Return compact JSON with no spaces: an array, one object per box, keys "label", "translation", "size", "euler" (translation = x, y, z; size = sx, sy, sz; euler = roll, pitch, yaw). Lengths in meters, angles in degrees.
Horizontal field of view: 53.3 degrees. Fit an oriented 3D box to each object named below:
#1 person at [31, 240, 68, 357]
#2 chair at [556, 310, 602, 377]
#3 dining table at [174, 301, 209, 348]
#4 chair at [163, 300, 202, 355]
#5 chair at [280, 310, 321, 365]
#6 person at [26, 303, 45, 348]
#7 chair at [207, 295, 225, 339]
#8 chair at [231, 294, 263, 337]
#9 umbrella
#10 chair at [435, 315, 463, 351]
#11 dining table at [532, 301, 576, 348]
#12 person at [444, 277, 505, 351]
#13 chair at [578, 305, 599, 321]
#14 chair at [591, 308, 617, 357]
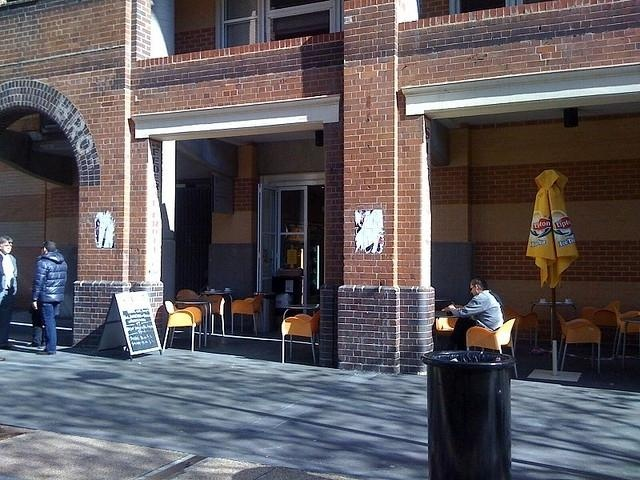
[{"label":"person","translation":[-5.256,1.129,12.407],"size":[0.576,2.189,0.599],"euler":[0,2,-14]},{"label":"chair","translation":[4.558,1.751,11.213],"size":[0.639,0.965,0.779],"euler":[-2,2,20]},{"label":"dining table","translation":[-2.690,1.852,14.159],"size":[0.871,1.211,0.896],"euler":[-1,-4,7]},{"label":"chair","translation":[-2.828,1.712,12.931],"size":[0.677,0.933,0.792],"euler":[0,1,-16]},{"label":"chair","translation":[-0.378,1.782,12.009],"size":[0.705,0.998,0.724],"euler":[6,-8,-11]},{"label":"person","translation":[-5.902,1.804,13.273],"size":[0.301,1.345,0.571],"euler":[6,-19,-27]},{"label":"chair","translation":[-2.315,1.626,14.207],"size":[0.356,0.637,0.383],"euler":[-20,-12,6]},{"label":"chair","translation":[-1.757,1.657,14.862],"size":[0.612,0.873,0.707],"euler":[2,3,-15]},{"label":"umbrella","translation":[4.239,0.539,11.512],"size":[0.809,3.503,2.370],"euler":[1,2,22]},{"label":"chair","translation":[2.296,1.662,11.425],"size":[0.446,0.559,0.497],"euler":[-5,-5,45]},{"label":"dining table","translation":[4.861,1.681,13.130],"size":[0.891,1.033,0.965],"euler":[2,-7,-33]},{"label":"person","translation":[2.614,1.339,10.908],"size":[0.941,1.422,0.620],"euler":[11,12,28]},{"label":"chair","translation":[5.435,1.478,12.931],"size":[0.329,0.379,0.323],"euler":[5,-2,35]},{"label":"chair","translation":[5.800,1.724,12.760],"size":[0.607,1.067,0.703],"euler":[3,-2,33]}]
